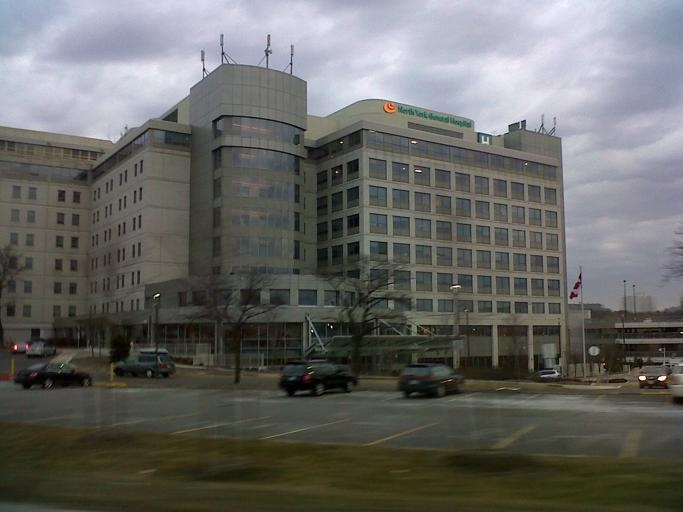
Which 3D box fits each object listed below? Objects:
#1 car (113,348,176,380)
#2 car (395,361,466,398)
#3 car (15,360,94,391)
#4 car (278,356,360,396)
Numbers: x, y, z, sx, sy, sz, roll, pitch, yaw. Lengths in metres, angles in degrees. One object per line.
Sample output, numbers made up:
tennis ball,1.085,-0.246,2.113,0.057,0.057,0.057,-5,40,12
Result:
car,-13.470,7.331,52.293,2.413,1.763,4.033,2,-4,-42
car,4.325,6.005,37.339,1.766,1.554,3.129,-3,-4,35
car,-16.809,6.876,44.297,3.845,0.991,1.714,3,-3,-40
car,-1.337,6.205,39.523,1.857,1.740,3.734,-3,-4,36
